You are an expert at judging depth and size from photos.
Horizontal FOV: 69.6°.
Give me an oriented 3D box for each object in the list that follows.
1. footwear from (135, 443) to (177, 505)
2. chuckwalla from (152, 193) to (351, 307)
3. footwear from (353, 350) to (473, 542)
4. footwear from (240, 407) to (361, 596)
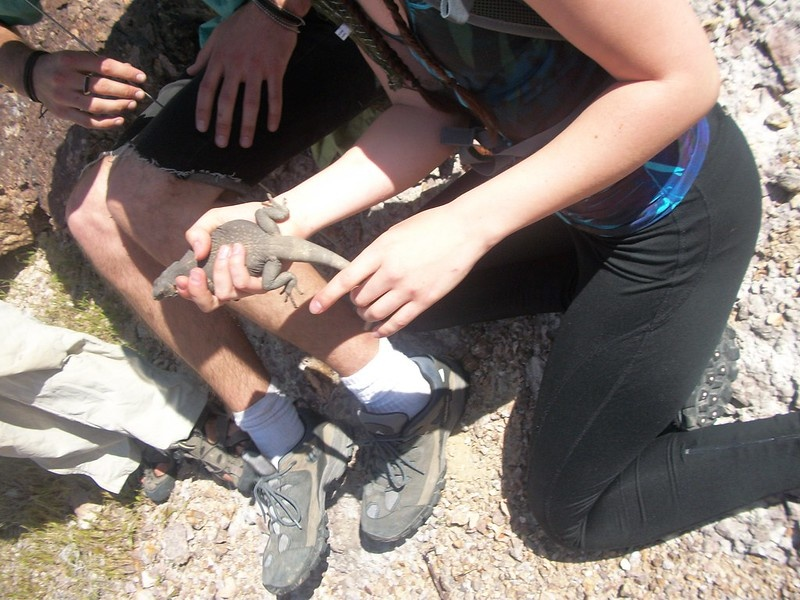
[{"bbox_3d":[-1.487,1.073,3.555,0.198,0.163,0.397,30,46,-47],"label":"footwear"},{"bbox_3d":[-0.677,-0.146,2.555,0.424,0.680,0.192,63,7,8],"label":"chuckwalla"},{"bbox_3d":[0.039,0.779,3.028,0.538,0.471,1.042,17,85,-60],"label":"footwear"},{"bbox_3d":[-0.544,1.036,3.152,0.554,0.416,1.004,38,55,-34],"label":"footwear"}]
